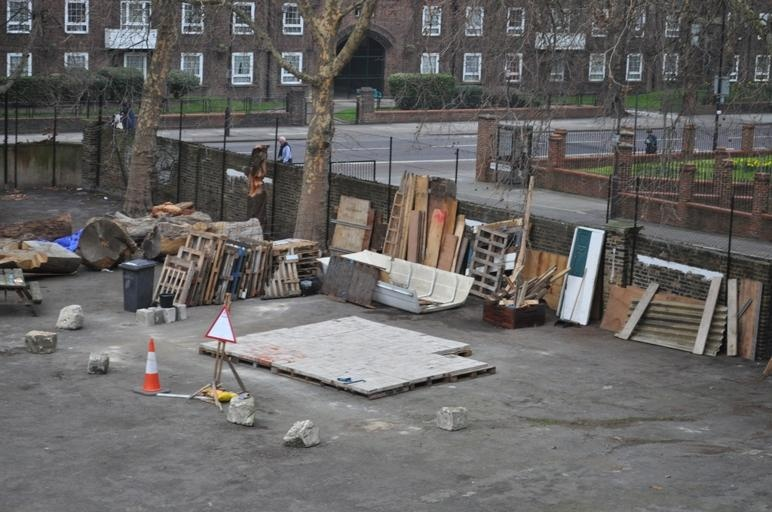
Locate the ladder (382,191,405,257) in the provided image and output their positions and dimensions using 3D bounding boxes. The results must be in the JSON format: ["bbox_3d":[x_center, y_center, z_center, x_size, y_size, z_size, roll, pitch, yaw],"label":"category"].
[{"bbox_3d":[0.182,-0.912,26.202,0.434,1.778,0.735,-1,7,-26],"label":"ladder"}]

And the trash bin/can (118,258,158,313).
[{"bbox_3d":[-6.201,0.724,23.141,0.700,1.360,0.656,0,-4,24],"label":"trash bin/can"}]

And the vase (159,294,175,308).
[{"bbox_3d":[-5.391,1.085,22.747,0.335,0.244,0.340,3,6,33],"label":"vase"}]
